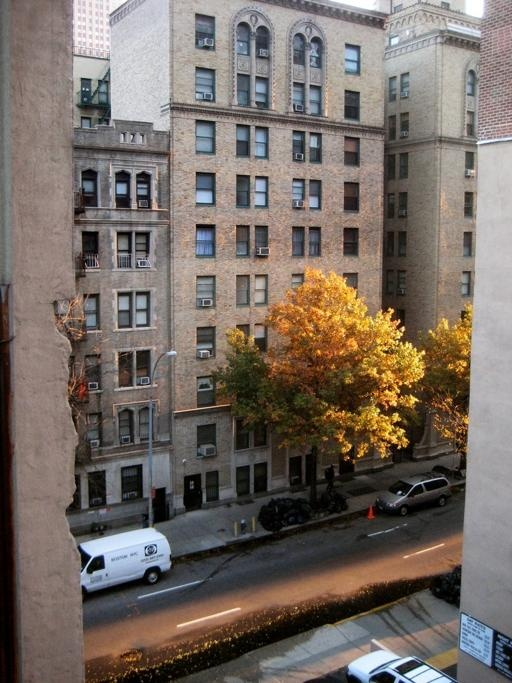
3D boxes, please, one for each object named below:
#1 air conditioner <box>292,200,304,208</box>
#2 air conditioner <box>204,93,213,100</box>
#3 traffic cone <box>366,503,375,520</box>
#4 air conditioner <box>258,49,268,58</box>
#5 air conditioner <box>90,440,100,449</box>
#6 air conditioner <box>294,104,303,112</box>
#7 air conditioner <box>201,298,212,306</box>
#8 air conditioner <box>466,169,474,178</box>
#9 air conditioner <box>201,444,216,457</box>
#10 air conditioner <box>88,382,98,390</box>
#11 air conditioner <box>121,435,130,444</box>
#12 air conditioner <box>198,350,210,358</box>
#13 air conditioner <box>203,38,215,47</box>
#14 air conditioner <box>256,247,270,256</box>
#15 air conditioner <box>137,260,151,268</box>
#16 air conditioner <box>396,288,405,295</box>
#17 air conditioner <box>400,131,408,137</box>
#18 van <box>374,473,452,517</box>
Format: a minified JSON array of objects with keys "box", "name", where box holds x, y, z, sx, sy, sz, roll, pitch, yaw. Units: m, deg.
[{"box":[2.029,-6.506,41.664,0.374,0.371,0.395,6,8,41],"name":"air conditioner"},{"box":[-2.074,-10.599,37.925,0.310,0.271,0.468,5,7,-25],"name":"air conditioner"},{"box":[5.089,7.620,38.419,0.402,0.536,0.390,-2,7,-25],"name":"traffic cone"},{"box":[0.326,-13.180,39.918,0.238,0.429,0.609,3,5,42],"name":"air conditioner"},{"box":[-6.684,4.296,36.124,0.267,0.342,0.503,-1,-1,38],"name":"air conditioner"},{"box":[2.019,-11.097,41.520,0.233,0.282,0.448,-5,1,44],"name":"air conditioner"},{"box":[-2.143,-1.678,38.797,0.302,0.422,0.777,3,5,41],"name":"air conditioner"},{"box":[12.149,-9.508,49.472,0.799,0.492,0.129,-4,5,-43],"name":"air conditioner"},{"box":[-2.166,4.965,39.206,0.571,0.414,0.534,-2,8,-35],"name":"air conditioner"},{"box":[-6.754,1.888,36.123,0.508,0.486,0.266,2,-4,-30],"name":"air conditioner"},{"box":[-5.549,4.222,37.022,0.315,0.236,0.317,0,-2,-23],"name":"air conditioner"},{"box":[-2.335,0.598,38.878,0.394,0.291,0.386,0,-2,-16],"name":"air conditioner"},{"box":[-2.069,-12.892,37.645,0.235,0.317,0.452,6,10,40],"name":"air conditioner"},{"box":[0.294,-4.107,40.356,0.569,0.439,0.542,-1,4,-3],"name":"air conditioner"},{"box":[-4.777,-3.261,36.939,0.414,0.374,0.106,0,0,-22],"name":"air conditioner"},{"box":[8.500,-2.857,51.026,0.178,0.433,0.699,-3,4,-22],"name":"air conditioner"},{"box":[8.494,-11.821,49.816,0.455,0.439,0.240,-2,3,-2],"name":"air conditioner"},{"box":[7.056,6.977,39.226,3.679,1.374,1.221,-3,5,-34],"name":"van"}]
